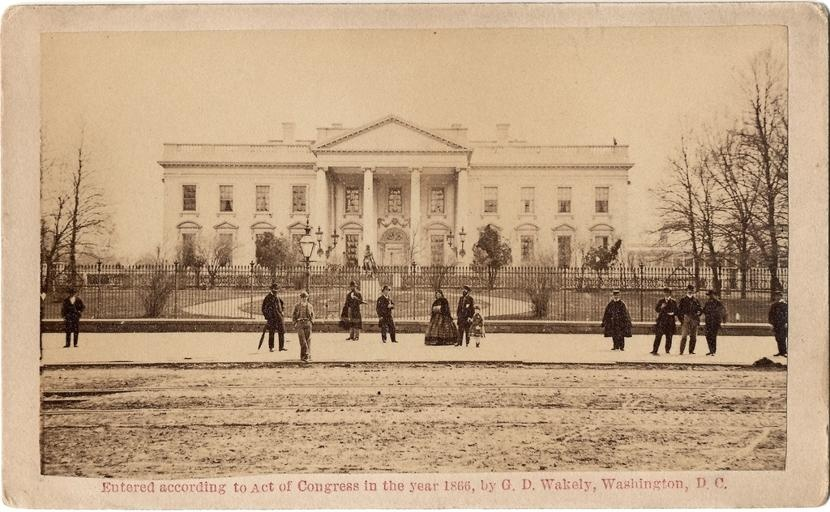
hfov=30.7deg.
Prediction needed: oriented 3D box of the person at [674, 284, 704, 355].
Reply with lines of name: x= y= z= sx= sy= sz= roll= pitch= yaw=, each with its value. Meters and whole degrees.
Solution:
person: x=8.280 y=1.965 z=45.445 sx=0.723 sy=2.082 sz=0.664 roll=2 pitch=0 yaw=11

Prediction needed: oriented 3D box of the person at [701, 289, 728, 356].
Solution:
person: x=8.945 y=2.031 z=45.264 sx=0.733 sy=1.983 sz=0.420 roll=2 pitch=0 yaw=-7

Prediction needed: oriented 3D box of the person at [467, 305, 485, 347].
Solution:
person: x=1.918 y=2.176 z=46.113 sx=0.499 sy=1.248 sz=1.008 roll=2 pitch=0 yaw=2

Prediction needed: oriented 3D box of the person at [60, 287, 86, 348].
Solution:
person: x=-10.295 y=1.928 z=45.591 sx=0.623 sy=1.628 sz=0.984 roll=2 pitch=0 yaw=-12

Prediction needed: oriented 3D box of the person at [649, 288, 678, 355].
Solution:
person: x=7.575 y=2.009 z=45.658 sx=0.736 sy=2.014 sz=0.704 roll=2 pitch=0 yaw=9

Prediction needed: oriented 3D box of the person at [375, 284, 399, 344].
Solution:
person: x=-0.840 y=1.821 z=46.706 sx=0.629 sy=1.701 sz=1.101 roll=2 pitch=0 yaw=-1

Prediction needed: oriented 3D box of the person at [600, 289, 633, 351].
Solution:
person: x=6.156 y=1.992 z=45.848 sx=0.846 sy=1.815 sz=0.513 roll=2 pitch=0 yaw=7

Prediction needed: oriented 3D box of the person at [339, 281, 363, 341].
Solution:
person: x=-1.924 y=1.729 z=46.634 sx=0.650 sy=1.776 sz=0.881 roll=2 pitch=0 yaw=9

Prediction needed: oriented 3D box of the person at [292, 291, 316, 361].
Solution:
person: x=-3.319 y=2.144 z=45.158 sx=0.582 sy=2.073 sz=0.894 roll=2 pitch=0 yaw=-4

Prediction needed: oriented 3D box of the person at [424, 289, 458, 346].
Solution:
person: x=0.826 y=1.931 z=46.040 sx=0.971 sy=1.671 sz=0.638 roll=2 pitch=0 yaw=2
